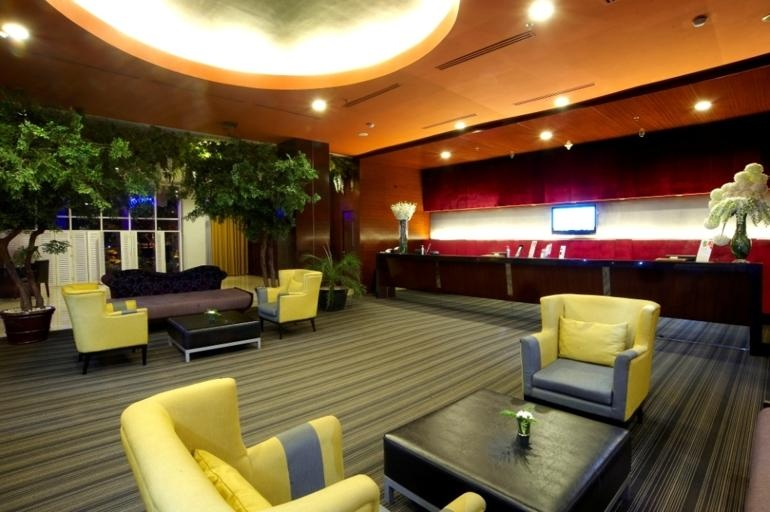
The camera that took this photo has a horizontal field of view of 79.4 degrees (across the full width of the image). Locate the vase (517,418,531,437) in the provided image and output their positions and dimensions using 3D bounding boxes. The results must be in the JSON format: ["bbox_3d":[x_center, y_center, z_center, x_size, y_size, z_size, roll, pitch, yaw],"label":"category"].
[{"bbox_3d":[1.255,1.548,4.233,0.148,0.168,0.150,-1,-4,3],"label":"vase"}]

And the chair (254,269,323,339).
[{"bbox_3d":[-1.712,0.787,8.201,0.936,1.053,0.957,0,4,-38],"label":"chair"}]

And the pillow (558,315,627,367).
[{"bbox_3d":[2.380,0.998,5.409,0.706,0.498,0.260,1,4,41],"label":"pillow"}]

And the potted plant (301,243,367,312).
[{"bbox_3d":[-1.072,0.478,10.202,1.152,1.452,1.451,1,3,33],"label":"potted plant"}]

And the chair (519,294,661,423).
[{"bbox_3d":[2.327,1.076,5.237,1.227,1.158,1.137,3,5,43],"label":"chair"}]

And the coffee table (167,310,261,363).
[{"bbox_3d":[-2.723,1.136,7.338,1.215,0.617,1.093,-9,16,-31],"label":"coffee table"}]

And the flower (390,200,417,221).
[{"bbox_3d":[0.430,-0.989,10.440,0.411,0.412,0.675,2,14,12],"label":"flower"}]

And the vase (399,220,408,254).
[{"bbox_3d":[0.395,-0.425,10.361,0.120,0.744,0.106,-3,14,-8],"label":"vase"}]

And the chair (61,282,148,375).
[{"bbox_3d":[-4.097,0.948,6.781,0.971,1.050,1.075,4,6,41],"label":"chair"}]

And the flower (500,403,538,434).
[{"bbox_3d":[1.251,1.501,4.308,0.263,0.197,0.276,-7,-5,-7],"label":"flower"}]

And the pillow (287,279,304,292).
[{"bbox_3d":[-1.625,0.544,8.401,0.209,0.204,0.085,-7,-28,29],"label":"pillow"}]
